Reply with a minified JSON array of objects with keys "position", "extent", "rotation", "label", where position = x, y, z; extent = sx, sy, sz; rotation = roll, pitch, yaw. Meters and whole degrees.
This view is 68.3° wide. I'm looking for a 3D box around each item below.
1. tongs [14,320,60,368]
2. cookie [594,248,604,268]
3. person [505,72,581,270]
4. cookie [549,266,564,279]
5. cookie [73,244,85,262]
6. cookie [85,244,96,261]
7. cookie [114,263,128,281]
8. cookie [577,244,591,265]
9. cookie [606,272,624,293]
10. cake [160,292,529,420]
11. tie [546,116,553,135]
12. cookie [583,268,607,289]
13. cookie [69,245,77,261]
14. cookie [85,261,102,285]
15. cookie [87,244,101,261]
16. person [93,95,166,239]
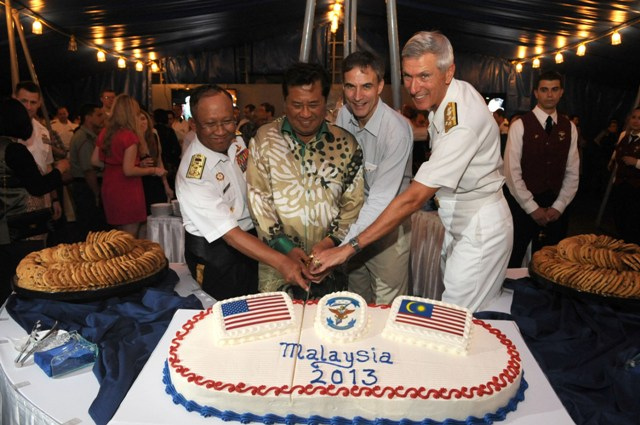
[{"position":[-1.549,0.755,2.614],"extent":[0.153,0.129,0.303],"rotation":[1,23,3],"label":"tongs"},{"position":[1.828,0.328,3.105],"extent":[0.019,0.090,0.084],"rotation":[-6,-2,16],"label":"cookie"},{"position":[2.102,-0.218,4.591],"extent":[0.678,2.258,0.811],"rotation":[11,24,29],"label":"person"},{"position":[1.549,0.422,3.123],"extent":[0.069,0.021,0.076],"rotation":[-35,12,37],"label":"cookie"},{"position":[-1.522,0.285,2.991],"extent":[0.018,0.086,0.080],"rotation":[-20,-26,23],"label":"cookie"},{"position":[-1.455,0.290,2.982],"extent":[0.065,0.084,0.025],"rotation":[15,25,34],"label":"cookie"},{"position":[-1.241,0.408,2.945],"extent":[0.065,0.112,0.033],"rotation":[1,21,4],"label":"cookie"},{"position":[1.787,0.307,3.202],"extent":[0.090,0.118,0.039],"rotation":[-12,-13,25],"label":"cookie"},{"position":[1.866,0.487,2.972],"extent":[0.107,0.109,0.041],"rotation":[-14,24,-30],"label":"cookie"},{"position":[0.102,0.775,2.296],"extent":[1.391,0.236,0.761],"rotation":[1,23,2],"label":"cake"},{"position":[2.193,-0.848,4.499],"extent":[0.037,0.193,0.044],"rotation":[1,-9,18],"label":"tie"},{"position":[1.769,0.460,3.031],"extent":[0.193,0.094,0.042],"rotation":[-14,24,-28],"label":"cookie"},{"position":[-1.563,0.287,2.995],"extent":[0.080,0.094,0.030],"rotation":[-13,-8,44],"label":"cookie"},{"position":[-1.403,0.417,2.907],"extent":[0.059,0.110,0.125],"rotation":[-20,29,-40],"label":"cookie"},{"position":[-1.422,0.278,2.995],"extent":[0.020,0.080,0.076],"rotation":[-28,2,5],"label":"cookie"},{"position":[-1.962,-0.466,4.863],"extent":[0.618,1.492,0.524],"rotation":[-6,21,-13],"label":"person"}]
